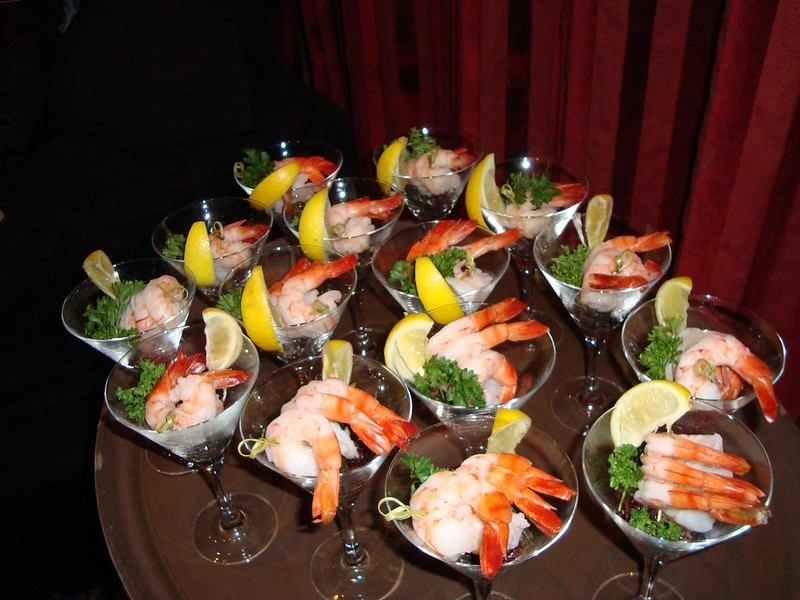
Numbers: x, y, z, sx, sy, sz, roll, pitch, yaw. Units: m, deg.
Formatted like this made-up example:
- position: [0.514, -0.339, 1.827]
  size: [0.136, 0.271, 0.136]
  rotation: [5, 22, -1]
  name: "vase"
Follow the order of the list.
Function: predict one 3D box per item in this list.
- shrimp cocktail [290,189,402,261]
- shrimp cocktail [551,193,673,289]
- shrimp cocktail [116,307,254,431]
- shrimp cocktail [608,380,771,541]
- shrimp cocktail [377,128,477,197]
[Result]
- position: [-0.231, -0.331, 2.837]
  size: [0.408, 0.184, 0.346]
  rotation: [-9, 54, -9]
  name: "shrimp cocktail"
- position: [0.844, -0.187, 2.499]
  size: [0.382, 0.261, 0.456]
  rotation: [3, 19, 9]
  name: "shrimp cocktail"
- position: [-0.790, 0.301, 2.310]
  size: [0.367, 0.188, 0.404]
  rotation: [3, 34, 20]
  name: "shrimp cocktail"
- position: [0.866, 0.501, 1.976]
  size: [0.476, 0.161, 0.403]
  rotation: [17, 67, 25]
  name: "shrimp cocktail"
- position: [0.127, -0.695, 3.157]
  size: [0.453, 0.205, 0.387]
  rotation: [-13, 53, -16]
  name: "shrimp cocktail"
